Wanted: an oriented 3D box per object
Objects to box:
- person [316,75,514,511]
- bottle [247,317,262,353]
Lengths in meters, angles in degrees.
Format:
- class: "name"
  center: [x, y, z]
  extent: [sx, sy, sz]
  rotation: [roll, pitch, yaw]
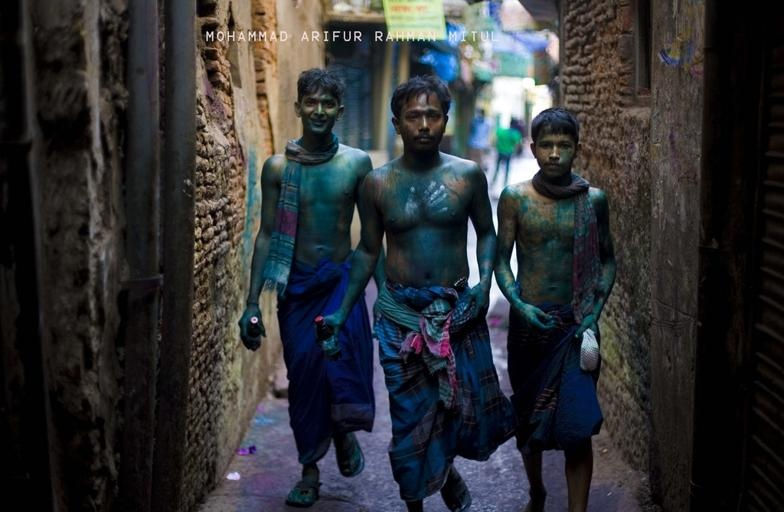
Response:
- class: "person"
  center: [0.221, 0.158, 5.122]
  extent: [0.954, 2.367, 0.733]
  rotation: [-2, 10, -4]
- class: "bottle"
  center: [-0.858, 0.485, 5.464]
  extent: [0.087, 0.211, 0.123]
  rotation: [-3, 11, -10]
